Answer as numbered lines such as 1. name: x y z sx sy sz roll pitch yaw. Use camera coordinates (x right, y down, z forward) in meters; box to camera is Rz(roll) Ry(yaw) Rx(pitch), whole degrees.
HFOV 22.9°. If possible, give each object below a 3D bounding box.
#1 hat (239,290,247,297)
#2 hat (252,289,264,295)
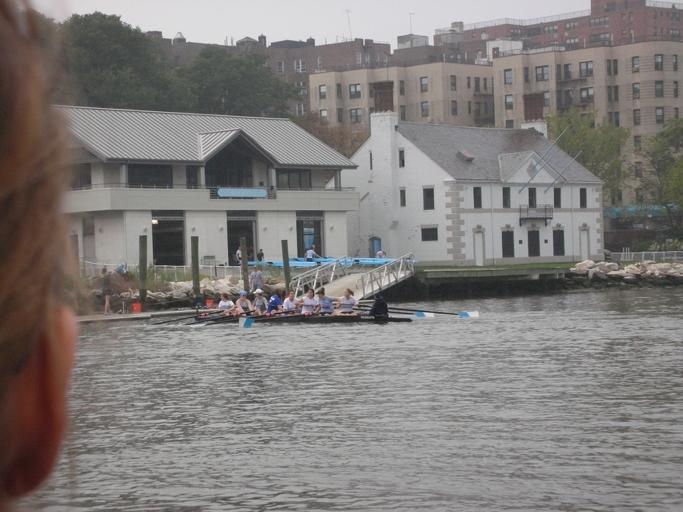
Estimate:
1. hat: -5.097 1.913 89.563 0.397 0.190 0.533 0 5 3
2. hat: -4.100 1.723 86.329 0.344 0.180 0.493 -4 -7 44
